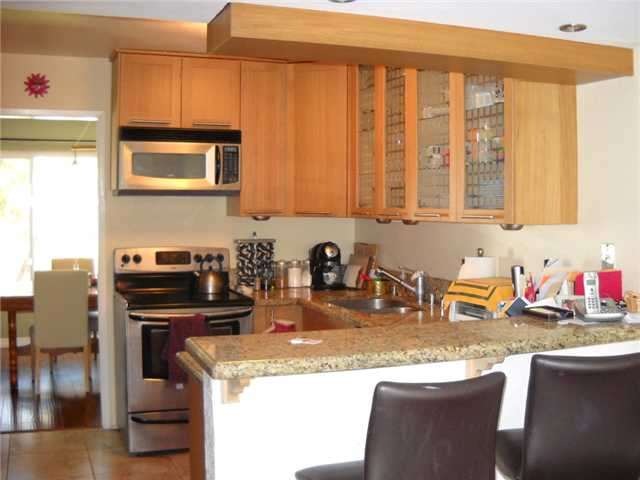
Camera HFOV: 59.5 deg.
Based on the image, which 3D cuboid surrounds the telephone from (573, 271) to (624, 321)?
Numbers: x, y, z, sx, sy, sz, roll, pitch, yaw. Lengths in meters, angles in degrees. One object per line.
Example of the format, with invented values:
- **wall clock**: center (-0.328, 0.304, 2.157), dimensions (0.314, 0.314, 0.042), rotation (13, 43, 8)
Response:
- **telephone**: center (1.253, 0.232, 2.527), dimensions (0.264, 0.258, 0.232), rotation (0, 2, -1)

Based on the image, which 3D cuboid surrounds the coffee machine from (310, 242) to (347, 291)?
- **coffee machine**: center (0.058, 0.201, 4.709), dimensions (0.297, 0.350, 0.199), rotation (2, 3, 1)

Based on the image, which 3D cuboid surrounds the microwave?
- **microwave**: center (-1.047, -0.521, 4.115), dimensions (0.747, 0.359, 0.469), rotation (0, 5, -26)

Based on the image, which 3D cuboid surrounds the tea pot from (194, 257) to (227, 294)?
- **tea pot**: center (-0.847, 0.268, 4.355), dimensions (0.239, 0.237, 0.305), rotation (3, 5, 24)

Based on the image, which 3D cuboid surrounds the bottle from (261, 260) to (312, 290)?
- **bottle**: center (-0.270, 0.283, 4.585), dimensions (0.399, 0.221, 0.201), rotation (2, 3, -4)

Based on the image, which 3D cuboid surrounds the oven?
- **oven**: center (-1.022, 0.942, 4.153), dimensions (0.863, 0.958, 0.739), rotation (0, 4, -24)

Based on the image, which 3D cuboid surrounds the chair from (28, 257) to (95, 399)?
- **chair**: center (-2.345, 0.760, 5.100), dimensions (0.586, 1.116, 0.624), rotation (0, -1, -26)
